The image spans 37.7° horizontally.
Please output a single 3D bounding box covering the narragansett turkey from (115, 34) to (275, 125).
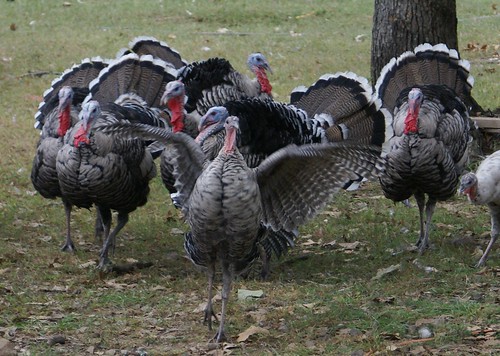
[{"bbox_3d":[-0.627,-1.385,10.380,1.970,1.130,1.416,26,19,-14],"label":"narragansett turkey"}]
